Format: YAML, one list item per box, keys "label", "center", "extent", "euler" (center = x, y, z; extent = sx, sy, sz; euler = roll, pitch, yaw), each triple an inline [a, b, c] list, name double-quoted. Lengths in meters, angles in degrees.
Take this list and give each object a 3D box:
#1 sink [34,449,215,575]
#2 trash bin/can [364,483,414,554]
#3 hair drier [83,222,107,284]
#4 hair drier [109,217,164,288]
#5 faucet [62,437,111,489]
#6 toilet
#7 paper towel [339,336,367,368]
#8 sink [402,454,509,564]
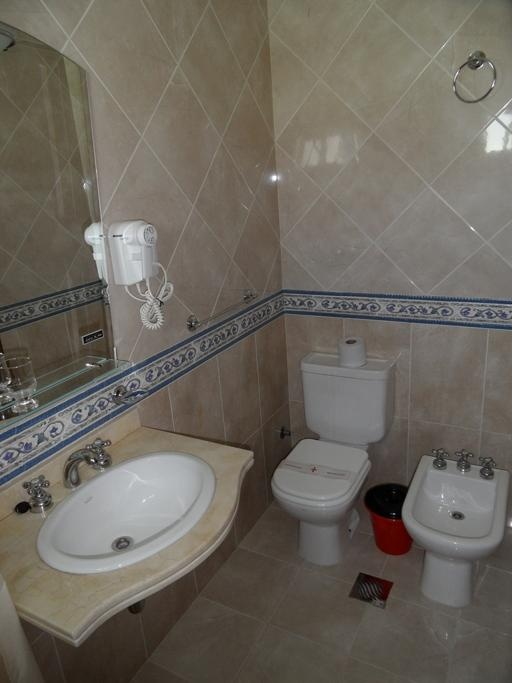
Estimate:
- label: "sink"
  center: [-0.302, 0.393, 1.039]
  extent: [0.332, 0.155, 0.403]
  euler: [6, 20, 6]
- label: "trash bin/can"
  center: [0.567, 0.789, 2.099]
  extent: [0.201, 0.254, 0.234]
  euler: [-6, 12, -10]
- label: "hair drier"
  center: [-0.413, -0.237, 1.219]
  extent: [0.049, 0.159, 0.040]
  euler: [2, 38, -5]
- label: "hair drier"
  center: [-0.321, -0.257, 1.245]
  extent: [0.064, 0.196, 0.106]
  euler: [13, 18, 30]
- label: "faucet"
  center: [-0.407, 0.278, 1.124]
  extent: [0.073, 0.105, 0.108]
  euler: [2, 27, -13]
- label: "toilet"
  center: [0.355, 0.524, 2.060]
  extent: [0.386, 0.947, 0.755]
  euler: [8, 25, 21]
- label: "paper towel"
  center: [0.420, 0.053, 2.029]
  extent: [0.099, 0.110, 0.116]
  euler: [-14, 40, -4]
- label: "sink"
  center: [0.796, 0.667, 1.842]
  extent: [0.378, 0.201, 0.457]
  euler: [10, 32, 26]
